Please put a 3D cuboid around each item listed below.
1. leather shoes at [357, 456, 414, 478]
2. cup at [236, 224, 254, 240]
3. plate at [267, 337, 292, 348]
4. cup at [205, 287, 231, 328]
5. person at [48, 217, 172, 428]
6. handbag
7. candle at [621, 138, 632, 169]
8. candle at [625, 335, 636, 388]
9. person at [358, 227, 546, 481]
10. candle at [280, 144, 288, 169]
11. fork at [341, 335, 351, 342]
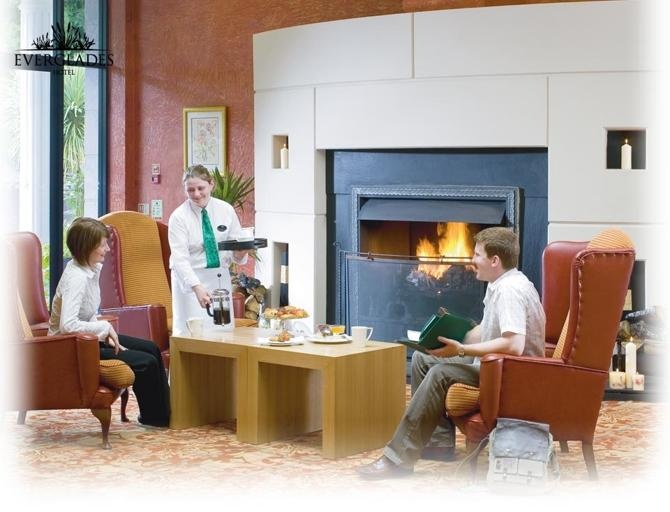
[{"bbox_3d":[0.261,1.091,3.264,0.295,0.125,0.113,3,-5,-3],"label":"leather shoes"},{"bbox_3d":[-0.667,-0.163,4.657,0.157,0.098,0.258,-1,2,-22],"label":"cup"},{"bbox_3d":[-0.323,0.514,3.719,0.147,0.039,0.099,0,3,-4],"label":"plate"},{"bbox_3d":[-0.757,0.345,4.115,0.154,0.251,0.094,-1,3,-12],"label":"cup"},{"bbox_3d":[-1.445,0.455,4.001,0.782,1.374,0.629,3,7,-19],"label":"person"},{"bbox_3d":[0.939,0.951,3.088,0.399,0.171,0.531,-5,14,-10],"label":"handbag"},{"bbox_3d":[2.270,-0.791,4.813,0.073,0.257,0.156,1,3,24],"label":"candle"},{"bbox_3d":[2.213,0.813,4.608,0.070,0.303,0.071,7,-2,26],"label":"candle"},{"bbox_3d":[0.616,0.524,3.290,0.970,1.310,0.589,0,5,6],"label":"person"},{"bbox_3d":[-0.481,-0.949,5.968,0.074,0.245,0.206,-1,3,-7],"label":"candle"},{"bbox_3d":[0.071,0.511,3.819,0.051,0.013,0.052,3,5,-2],"label":"fork"}]
